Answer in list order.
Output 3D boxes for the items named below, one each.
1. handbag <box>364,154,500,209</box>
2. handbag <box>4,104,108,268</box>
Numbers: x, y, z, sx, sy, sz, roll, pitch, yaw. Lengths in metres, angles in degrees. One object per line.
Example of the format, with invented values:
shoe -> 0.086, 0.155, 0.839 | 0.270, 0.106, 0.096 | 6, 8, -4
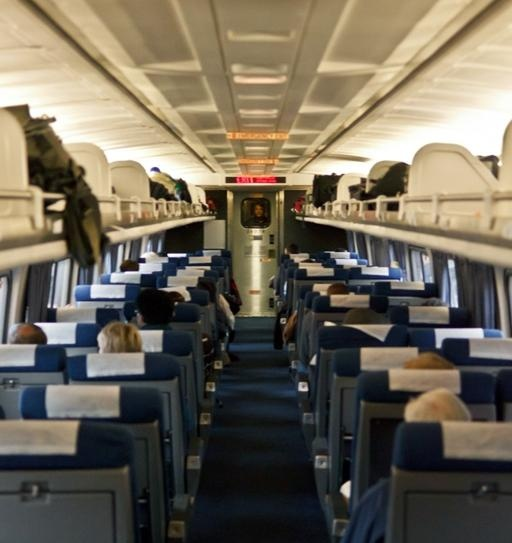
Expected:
handbag -> 1.722, -1.110, 6.222 | 1.316, 0.496, 1.022 | 1, 4, 45
handbag -> -1.170, -0.551, 3.004 | 0.787, 1.036, 0.406 | 3, 4, 44
